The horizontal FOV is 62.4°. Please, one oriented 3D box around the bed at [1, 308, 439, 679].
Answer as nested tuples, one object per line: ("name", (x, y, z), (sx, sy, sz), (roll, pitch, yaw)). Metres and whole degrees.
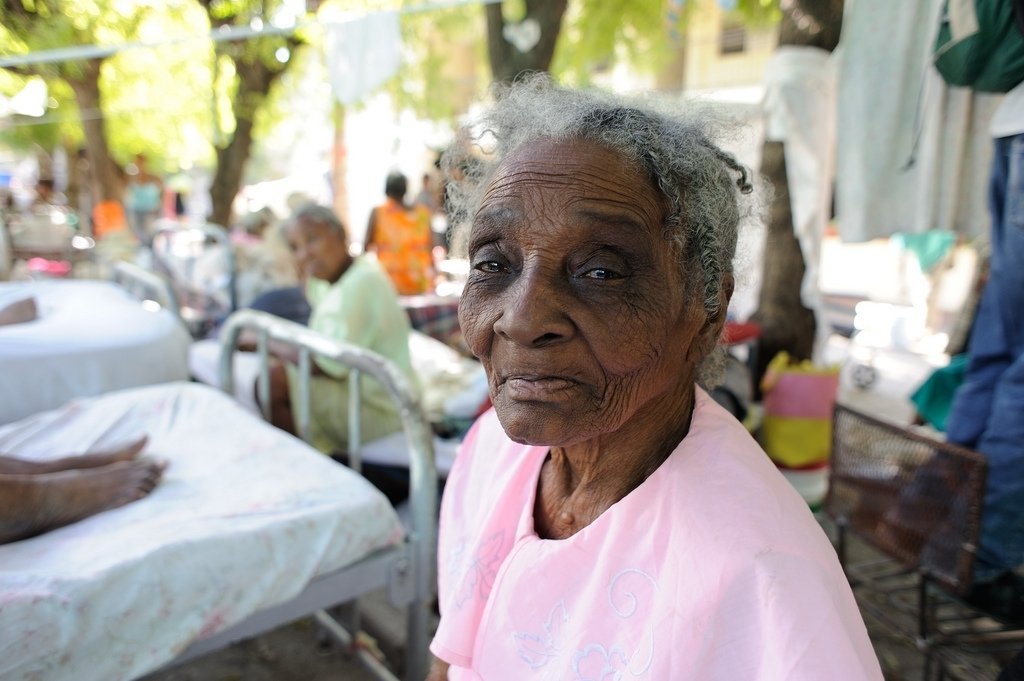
("bed", (-1.094, 0.628, 3.396), (1.527, 1.242, 1.393), (-14, 31, -39))
